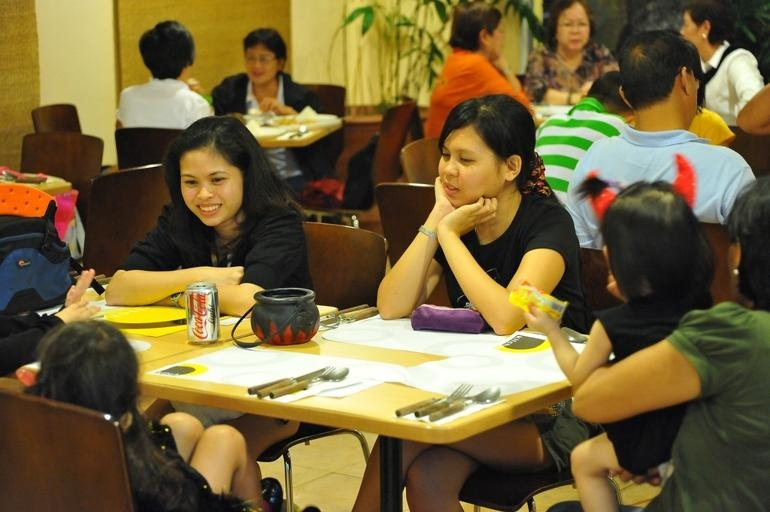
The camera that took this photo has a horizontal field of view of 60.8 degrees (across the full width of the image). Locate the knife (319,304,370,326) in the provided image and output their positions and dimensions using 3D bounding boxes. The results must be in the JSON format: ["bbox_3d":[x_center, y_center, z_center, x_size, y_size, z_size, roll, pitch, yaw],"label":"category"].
[{"bbox_3d":[-0.129,0.187,2.180,0.053,0.027,0.214,4,7,23],"label":"knife"}]

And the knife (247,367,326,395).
[{"bbox_3d":[-0.243,0.305,1.579,0.053,0.026,0.200,10,11,37],"label":"knife"}]

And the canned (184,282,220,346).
[{"bbox_3d":[-0.537,0.168,1.935,0.088,0.166,0.084,-4,14,-17],"label":"canned"}]

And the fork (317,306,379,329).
[{"bbox_3d":[-0.130,0.184,2.160,0.059,0.045,0.227,-23,0,31],"label":"fork"}]

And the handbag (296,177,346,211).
[{"bbox_3d":[-0.456,-0.470,4.948,0.298,0.105,0.231,11,20,30],"label":"handbag"}]

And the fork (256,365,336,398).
[{"bbox_3d":[-0.229,0.303,1.582,0.057,0.024,0.188,10,14,37],"label":"fork"}]

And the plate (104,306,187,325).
[{"bbox_3d":[-0.801,0.188,2.199,0.263,0.021,0.251,-3,13,-14],"label":"plate"}]

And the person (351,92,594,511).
[{"bbox_3d":[0.308,0.093,2.105,0.705,1.199,0.877,2,13,8],"label":"person"}]

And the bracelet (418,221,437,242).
[{"bbox_3d":[0.151,-0.092,2.380,0.048,0.060,0.022,-39,-7,18],"label":"bracelet"}]

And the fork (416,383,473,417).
[{"bbox_3d":[0.147,0.328,1.500,0.043,0.019,0.218,10,16,38],"label":"fork"}]

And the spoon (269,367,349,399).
[{"bbox_3d":[-0.182,0.309,1.598,0.061,0.025,0.256,24,20,24],"label":"spoon"}]
